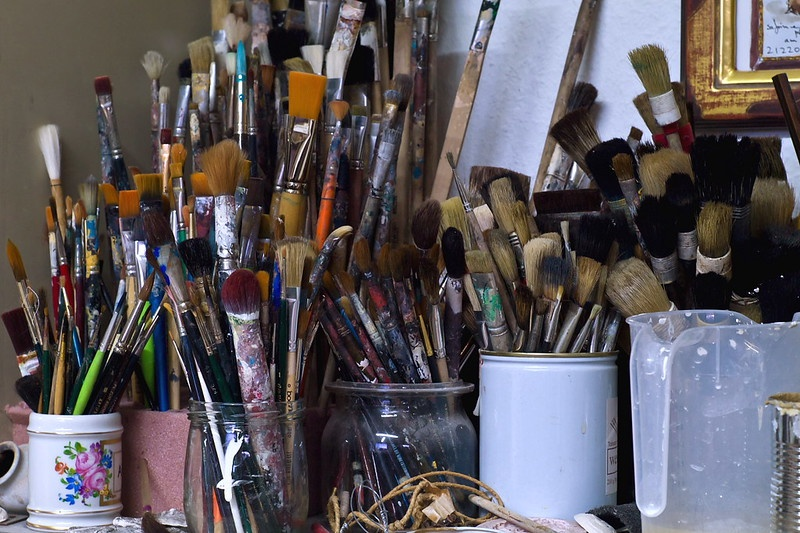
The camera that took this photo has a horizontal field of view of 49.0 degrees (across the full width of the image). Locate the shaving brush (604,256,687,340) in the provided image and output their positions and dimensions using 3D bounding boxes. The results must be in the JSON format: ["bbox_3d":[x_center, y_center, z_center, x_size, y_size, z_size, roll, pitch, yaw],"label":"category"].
[{"bbox_3d":[0.421,0.048,1.492,0.096,0.183,0.074,-28,15,8],"label":"shaving brush"}]

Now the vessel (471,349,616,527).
[{"bbox_3d":[0.218,0.290,1.506,0.231,0.312,0.254,0,-6,0],"label":"vessel"}]

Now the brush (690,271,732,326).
[{"bbox_3d":[0.507,0.050,1.439,0.055,0.066,0.066,0,-5,12],"label":"brush"}]

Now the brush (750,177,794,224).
[{"bbox_3d":[0.615,-0.111,1.479,0.066,0.078,0.070,-1,5,1],"label":"brush"}]

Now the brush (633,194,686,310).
[{"bbox_3d":[0.467,-0.020,1.535,0.069,0.211,0.071,-34,37,-20],"label":"brush"}]

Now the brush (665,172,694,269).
[{"bbox_3d":[0.471,-0.080,1.466,0.039,0.152,0.048,-2,2,41],"label":"brush"}]

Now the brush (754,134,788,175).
[{"bbox_3d":[0.629,-0.193,1.486,0.051,0.067,0.029,-4,12,1],"label":"brush"}]

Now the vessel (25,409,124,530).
[{"bbox_3d":[-0.574,0.375,1.648,0.169,0.213,0.183,0,-4,-5],"label":"vessel"}]

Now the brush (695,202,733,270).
[{"bbox_3d":[0.518,-0.043,1.446,0.059,0.124,0.055,-4,1,17],"label":"brush"}]

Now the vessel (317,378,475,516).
[{"bbox_3d":[-0.004,0.309,1.543,0.226,0.249,0.232,0,-5,-5],"label":"vessel"}]

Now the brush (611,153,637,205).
[{"bbox_3d":[0.396,-0.151,1.529,0.053,0.058,0.024,-5,2,-26],"label":"brush"}]
